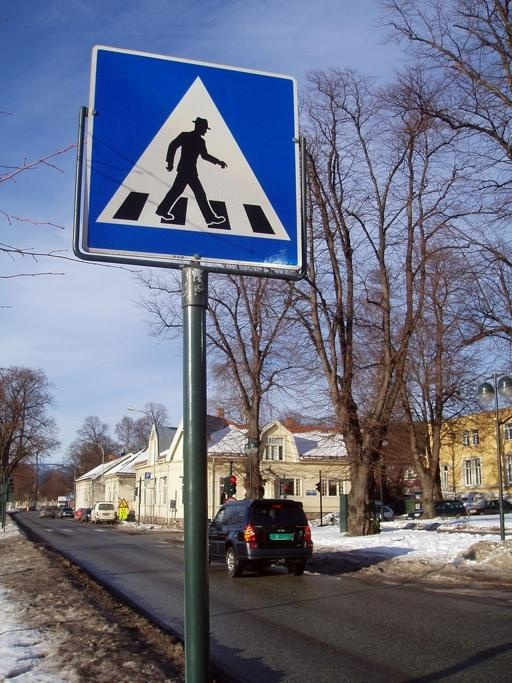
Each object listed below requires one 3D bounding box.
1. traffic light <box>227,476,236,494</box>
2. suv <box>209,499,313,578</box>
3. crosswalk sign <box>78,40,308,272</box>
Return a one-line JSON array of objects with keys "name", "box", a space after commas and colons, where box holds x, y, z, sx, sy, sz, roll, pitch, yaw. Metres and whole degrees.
[{"name": "traffic light", "box": [-0.935, 5.372, 28.192, 0.251, 0.715, 0.779, -3, -12, -1]}, {"name": "suv", "box": [-0.034, 3.862, 15.948, 1.571, 1.569, 3.332, 4, -10, -17]}, {"name": "crosswalk sign", "box": [-0.246, -0.607, 2.968, 0.491, 1.060, 0.901, 6, -6, -34]}]
